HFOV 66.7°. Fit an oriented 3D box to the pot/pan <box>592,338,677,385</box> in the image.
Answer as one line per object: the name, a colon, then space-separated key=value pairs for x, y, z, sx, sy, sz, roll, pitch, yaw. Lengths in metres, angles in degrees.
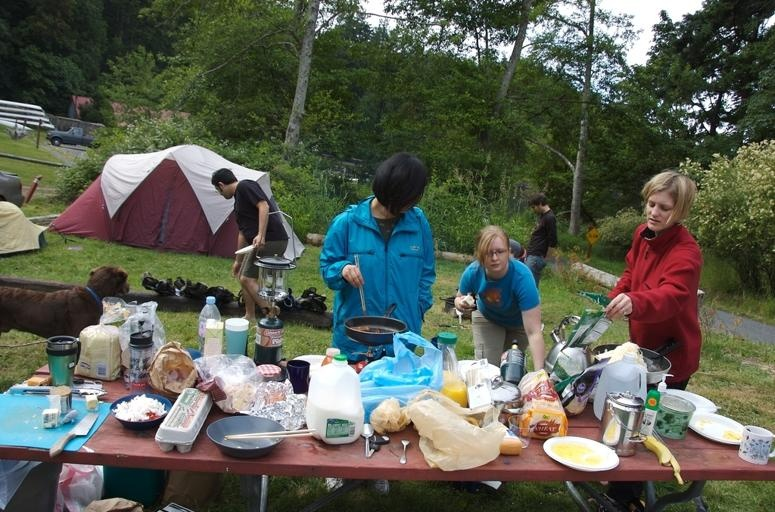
pot/pan: x=2.400 y=0.984 z=5.693 sx=0.539 sy=0.439 sz=0.617 roll=-2 pitch=-2 yaw=-39

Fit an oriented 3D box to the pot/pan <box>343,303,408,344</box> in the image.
pot/pan: x=-0.113 y=0.633 z=5.550 sx=0.437 sy=0.391 sz=0.330 roll=2 pitch=-1 yaw=37

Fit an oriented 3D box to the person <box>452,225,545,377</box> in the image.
person: x=1.232 y=0.466 z=6.274 sx=0.777 sy=1.812 sz=1.233 roll=4 pitch=0 yaw=-12

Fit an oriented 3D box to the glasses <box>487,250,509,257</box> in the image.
glasses: x=1.151 y=-0.031 z=6.027 sx=0.209 sy=0.062 sz=0.036 roll=7 pitch=7 yaw=-18

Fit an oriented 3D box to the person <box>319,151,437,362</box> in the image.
person: x=-0.075 y=-0.028 z=6.031 sx=0.893 sy=2.360 sz=1.280 roll=2 pitch=0 yaw=-14

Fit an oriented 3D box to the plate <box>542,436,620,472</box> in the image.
plate: x=1.673 y=1.668 z=5.095 sx=0.609 sy=0.222 sz=0.533 roll=0 pitch=-4 yaw=2

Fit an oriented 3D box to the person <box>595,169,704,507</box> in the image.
person: x=2.512 y=0.754 z=6.074 sx=1.132 sy=3.352 sz=1.135 roll=1 pitch=-2 yaw=1

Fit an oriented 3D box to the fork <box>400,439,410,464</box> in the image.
fork: x=0.154 y=1.647 z=4.955 sx=0.059 sy=0.032 sz=0.273 roll=4 pitch=19 yaw=6

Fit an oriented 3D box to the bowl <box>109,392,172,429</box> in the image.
bowl: x=-2.071 y=1.310 z=5.077 sx=0.315 sy=0.108 sz=0.323 roll=4 pitch=11 yaw=-1

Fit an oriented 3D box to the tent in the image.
tent: x=-4.424 y=-1.053 z=12.116 sx=6.462 sy=2.662 sz=2.394 roll=-3 pitch=-7 yaw=10

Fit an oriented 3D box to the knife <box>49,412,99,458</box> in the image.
knife: x=-2.578 y=1.455 z=4.899 sx=0.463 sy=0.256 sz=0.329 roll=1 pitch=7 yaw=-25

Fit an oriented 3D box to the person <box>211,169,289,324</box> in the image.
person: x=-1.977 y=-0.121 z=8.584 sx=1.070 sy=2.144 sz=1.072 roll=4 pitch=8 yaw=-28

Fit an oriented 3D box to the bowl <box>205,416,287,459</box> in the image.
bowl: x=-1.165 y=1.453 z=5.070 sx=0.640 sy=0.292 sz=0.741 roll=2 pitch=5 yaw=-3
